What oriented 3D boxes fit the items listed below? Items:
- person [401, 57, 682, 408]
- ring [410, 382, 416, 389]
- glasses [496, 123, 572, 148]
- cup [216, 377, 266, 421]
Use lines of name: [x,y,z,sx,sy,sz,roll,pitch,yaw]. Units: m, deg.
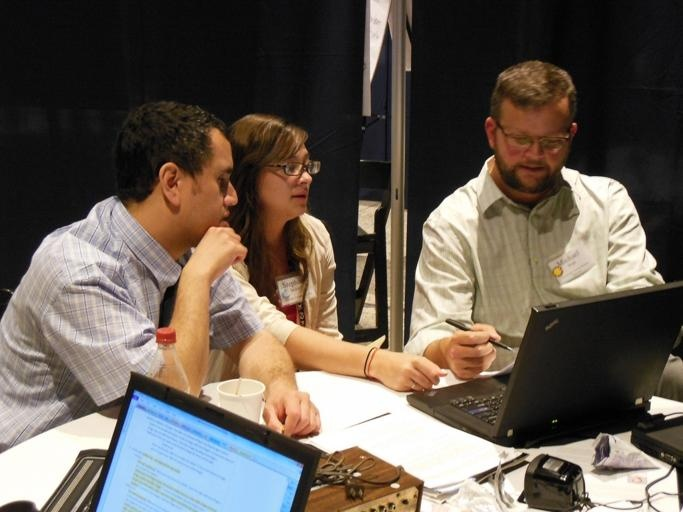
person: [0.761,-0.092,2.784,1.222,1.714,1.174,-1,5,3]
ring: [0.227,0.412,1.831,0.013,0.019,0.006,-7,-10,6]
glasses: [0.756,-0.469,2.280,0.283,0.090,0.095,5,15,15]
cup: [-0.259,0.373,1.506,0.138,0.119,0.152,2,1,0]
